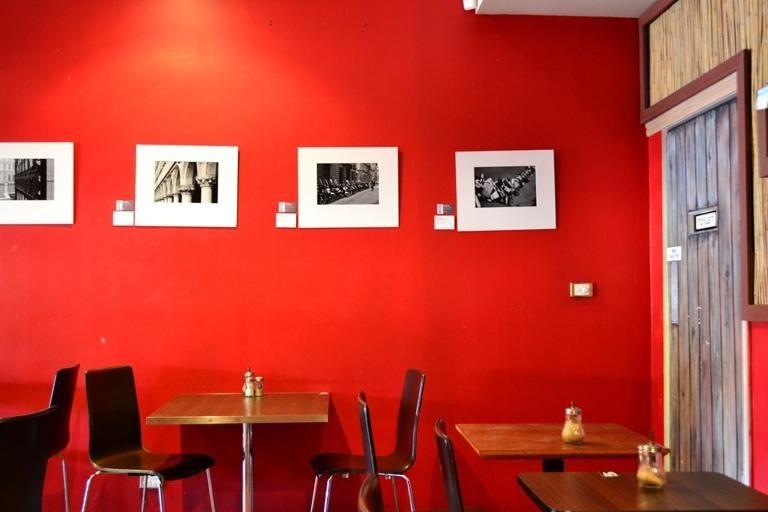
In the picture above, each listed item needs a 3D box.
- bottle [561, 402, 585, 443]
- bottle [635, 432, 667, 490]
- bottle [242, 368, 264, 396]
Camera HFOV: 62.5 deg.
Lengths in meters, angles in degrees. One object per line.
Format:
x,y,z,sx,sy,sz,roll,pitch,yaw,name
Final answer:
1.278,1.136,4.309,0.172,0.286,0.183,3,-11,0,bottle
1.593,1.220,3.753,0.227,0.268,0.225,7,-13,-12,bottle
-1.078,1.038,5.119,0.139,0.209,0.206,-4,-9,36,bottle
